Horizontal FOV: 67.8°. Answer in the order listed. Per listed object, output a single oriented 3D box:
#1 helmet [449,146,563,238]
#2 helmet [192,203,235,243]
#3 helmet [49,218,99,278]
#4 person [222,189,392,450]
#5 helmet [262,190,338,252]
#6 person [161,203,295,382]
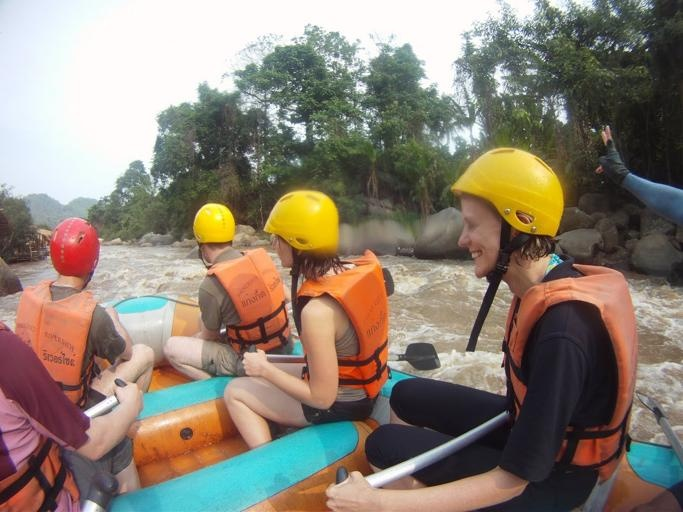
[{"bbox_3d":[0.803,-0.265,2.405,0.493,0.471,0.413,11,8,2],"label":"helmet"},{"bbox_3d":[-1.084,-0.293,4.350,0.263,0.366,0.355,-5,18,-29],"label":"helmet"},{"bbox_3d":[-1.626,-0.064,3.121,0.235,0.377,0.340,4,8,-9],"label":"helmet"},{"bbox_3d":[-0.211,0.489,3.125,0.989,1.736,1.029,-6,11,-26],"label":"person"},{"bbox_3d":[-0.252,-0.179,2.967,0.385,0.351,0.307,-1,1,0],"label":"helmet"},{"bbox_3d":[-0.894,0.254,4.115,0.833,1.367,1.026,1,21,14],"label":"person"}]
